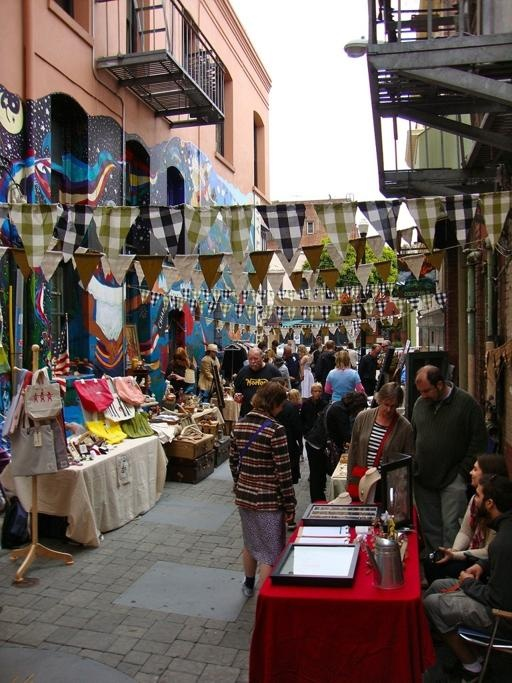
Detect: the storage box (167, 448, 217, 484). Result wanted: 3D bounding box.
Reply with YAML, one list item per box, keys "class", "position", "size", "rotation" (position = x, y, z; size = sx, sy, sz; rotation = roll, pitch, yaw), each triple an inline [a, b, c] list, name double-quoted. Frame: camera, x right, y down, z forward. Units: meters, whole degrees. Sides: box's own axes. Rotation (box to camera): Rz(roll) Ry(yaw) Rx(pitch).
- class: "storage box"
  position: [-0.972, 1.765, 8.169]
  size: [0.330, 0.239, 0.472]
  rotation: [1, 2, 17]

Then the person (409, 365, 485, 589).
- class: "person"
  position: [1.402, 1.004, 4.435]
  size: [0.498, 1.751, 0.400]
  rotation: [3, 17, 32]

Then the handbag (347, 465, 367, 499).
- class: "handbag"
  position: [0.650, 0.930, 3.834]
  size: [0.086, 0.238, 0.225]
  rotation: [1, -1, -20]

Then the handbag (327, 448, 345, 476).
- class: "handbag"
  position: [0.789, 1.213, 5.967]
  size: [0.066, 0.269, 0.264]
  rotation: [6, -15, -7]

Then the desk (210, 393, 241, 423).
- class: "desk"
  position: [-0.561, 1.357, 11.517]
  size: [0.677, 0.623, 0.737]
  rotation: [-1, 0, 26]

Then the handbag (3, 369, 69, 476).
- class: "handbag"
  position: [-1.790, 0.667, 4.796]
  size: [0.476, 0.894, 0.275]
  rotation: [1, -1, -27]

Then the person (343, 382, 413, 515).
- class: "person"
  position: [0.836, 0.876, 4.103]
  size: [0.369, 1.154, 0.251]
  rotation: [8, 5, 24]

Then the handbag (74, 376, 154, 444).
- class: "handbag"
  position: [-1.733, 0.836, 7.063]
  size: [0.185, 0.627, 0.664]
  rotation: [-24, -10, 22]

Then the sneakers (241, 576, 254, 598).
- class: "sneakers"
  position: [-0.063, 1.802, 4.356]
  size: [0.059, 0.092, 0.187]
  rotation: [2, 2, 1]

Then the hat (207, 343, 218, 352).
- class: "hat"
  position: [-0.848, 0.111, 11.778]
  size: [0.201, 0.104, 0.256]
  rotation: [14, -21, 26]
